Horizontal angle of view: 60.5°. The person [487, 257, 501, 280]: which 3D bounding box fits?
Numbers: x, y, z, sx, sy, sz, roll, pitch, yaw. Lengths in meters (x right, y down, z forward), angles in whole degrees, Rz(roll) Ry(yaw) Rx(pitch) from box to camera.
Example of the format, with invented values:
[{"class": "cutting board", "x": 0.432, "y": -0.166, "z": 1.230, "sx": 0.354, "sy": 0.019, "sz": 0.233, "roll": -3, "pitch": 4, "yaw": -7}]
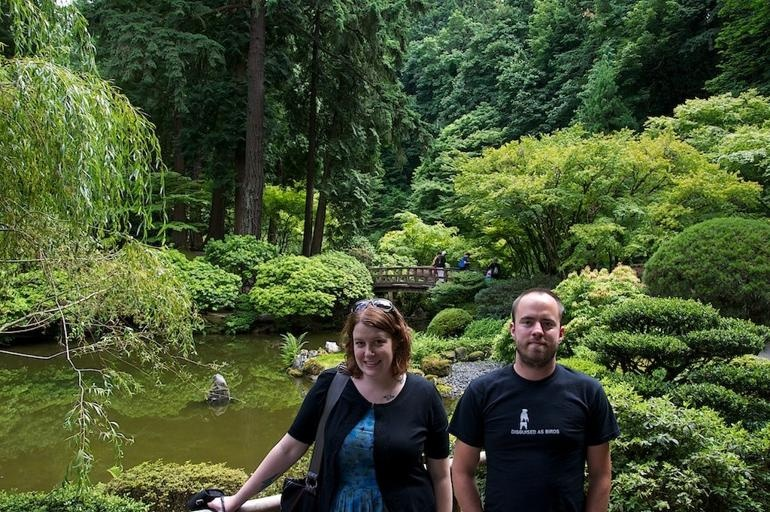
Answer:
[{"class": "person", "x": 3.069, "y": 0.340, "z": 18.832, "sx": 0.330, "sy": 0.567, "sz": 1.217, "roll": 4, "pitch": 4, "yaw": 8}]
